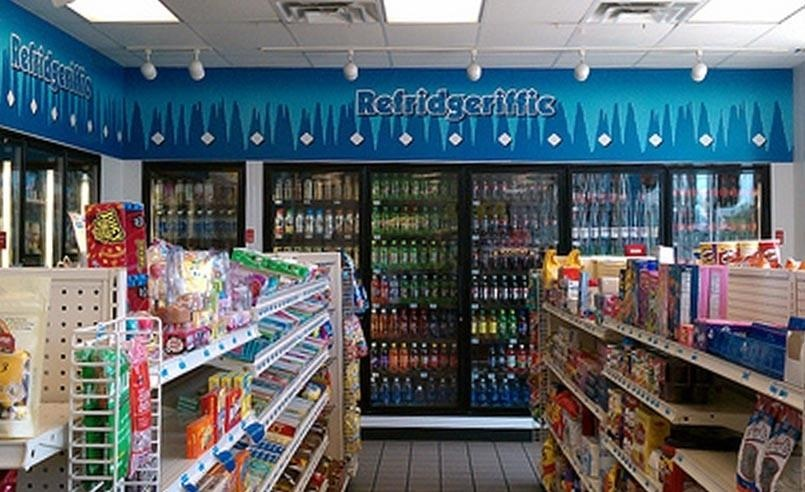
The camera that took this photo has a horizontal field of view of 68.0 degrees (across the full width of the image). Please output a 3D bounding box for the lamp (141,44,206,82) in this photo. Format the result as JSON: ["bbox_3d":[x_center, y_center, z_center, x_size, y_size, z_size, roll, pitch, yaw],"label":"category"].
[{"bbox_3d":[-2.497,-1.954,6.580,0.682,0.360,1.015,-3,1,-21],"label":"lamp"}]

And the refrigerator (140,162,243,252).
[{"bbox_3d":[-2.361,-0.439,6.787,1.029,0.942,0.340,2,-1,-1],"label":"refrigerator"}]
